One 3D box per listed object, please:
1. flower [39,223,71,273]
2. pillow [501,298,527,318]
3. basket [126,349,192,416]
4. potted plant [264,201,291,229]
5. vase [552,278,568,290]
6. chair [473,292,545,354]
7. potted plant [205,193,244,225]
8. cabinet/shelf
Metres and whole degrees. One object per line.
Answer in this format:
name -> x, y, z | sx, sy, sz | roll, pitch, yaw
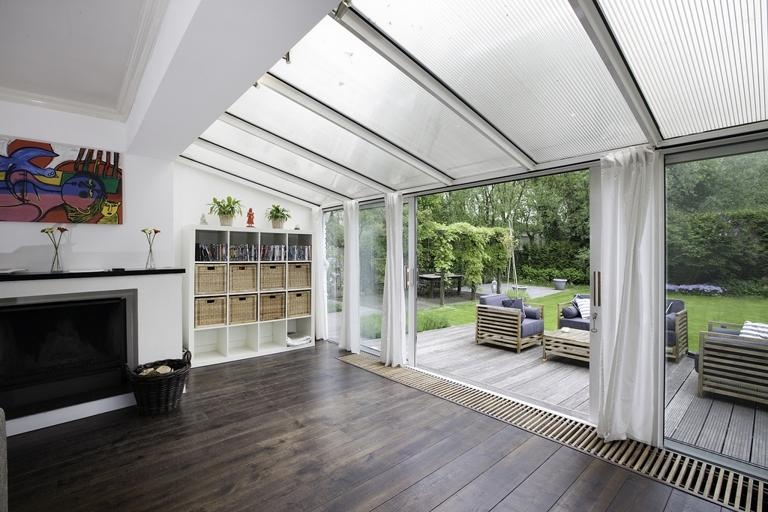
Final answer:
flower -> -3.757, -0.106, 4.745 | 0.247, 0.505, 0.158 | -10, 16, -38
pillow -> 2.245, 0.859, 7.107 | 0.341, 0.338, 0.136 | 4, -10, 25
basket -> -2.559, 1.477, 4.930 | 0.710, 0.680, 0.651 | -8, -4, 32
potted plant -> -1.836, -0.704, 7.082 | 0.427, 0.394, 0.421 | -2, 1, -19
vase -> 3.586, 0.546, 8.417 | 0.223, 0.165, 0.225 | -5, -5, 43
chair -> 2.190, 1.100, 7.211 | 0.994, 0.897, 0.952 | 4, -7, -45
potted plant -> -2.533, -0.720, 6.556 | 0.498, 0.353, 0.491 | -2, 0, -31
cabinet/shelf -> -2.220, 0.630, 6.555 | 2.192, 2.010, 0.644 | -1, -1, -40
